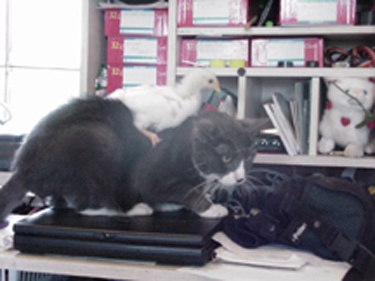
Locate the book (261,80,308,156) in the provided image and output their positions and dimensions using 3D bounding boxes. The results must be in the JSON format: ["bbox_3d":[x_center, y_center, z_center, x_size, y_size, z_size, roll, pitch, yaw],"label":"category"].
[{"bbox_3d":[0.357,-0.063,2.121,0.191,0.261,0.091,-15,-3,-34],"label":"book"}]

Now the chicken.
[{"bbox_3d":[-0.066,-0.096,1.715,0.344,0.264,0.181,7,19,10],"label":"chicken"}]
